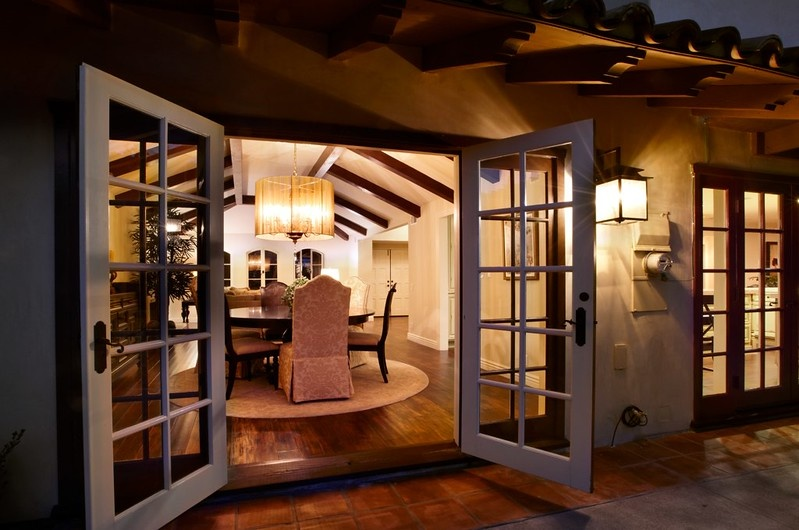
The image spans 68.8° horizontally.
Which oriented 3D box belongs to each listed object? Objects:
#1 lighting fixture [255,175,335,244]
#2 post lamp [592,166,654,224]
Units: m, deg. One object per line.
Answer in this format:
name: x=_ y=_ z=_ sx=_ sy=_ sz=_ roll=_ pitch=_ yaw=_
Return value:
lighting fixture: x=-1.425 y=-0.767 z=7.993 sx=1.044 sy=0.759 sz=1.079 roll=0 pitch=2 yaw=42
post lamp: x=2.029 y=-0.648 z=5.129 sx=0.343 sy=0.473 sz=0.376 roll=-6 pitch=11 yaw=3
